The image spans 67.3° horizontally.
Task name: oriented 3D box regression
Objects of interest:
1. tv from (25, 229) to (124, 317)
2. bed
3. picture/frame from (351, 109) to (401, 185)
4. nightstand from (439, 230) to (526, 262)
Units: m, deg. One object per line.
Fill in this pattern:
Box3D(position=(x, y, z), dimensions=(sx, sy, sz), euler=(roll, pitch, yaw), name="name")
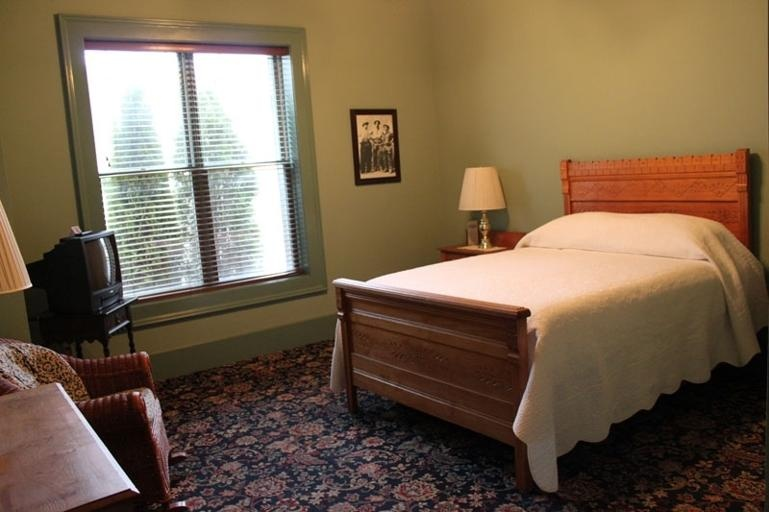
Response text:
Box3D(position=(-2.327, 0.139, 4.778), dimensions=(0.747, 0.736, 0.544), euler=(2, 9, 12), name="tv")
Box3D(position=(1.404, 0.475, 4.550), dimensions=(2.906, 1.739, 2.370), euler=(-9, 11, -39), name="bed")
Box3D(position=(-0.125, -1.181, 6.474), dimensions=(0.775, 0.998, 0.049), euler=(-11, 15, -34), name="picture/frame")
Box3D(position=(1.096, -0.077, 6.370), dimensions=(0.390, 0.330, 0.643), euler=(-6, 7, -41), name="nightstand")
